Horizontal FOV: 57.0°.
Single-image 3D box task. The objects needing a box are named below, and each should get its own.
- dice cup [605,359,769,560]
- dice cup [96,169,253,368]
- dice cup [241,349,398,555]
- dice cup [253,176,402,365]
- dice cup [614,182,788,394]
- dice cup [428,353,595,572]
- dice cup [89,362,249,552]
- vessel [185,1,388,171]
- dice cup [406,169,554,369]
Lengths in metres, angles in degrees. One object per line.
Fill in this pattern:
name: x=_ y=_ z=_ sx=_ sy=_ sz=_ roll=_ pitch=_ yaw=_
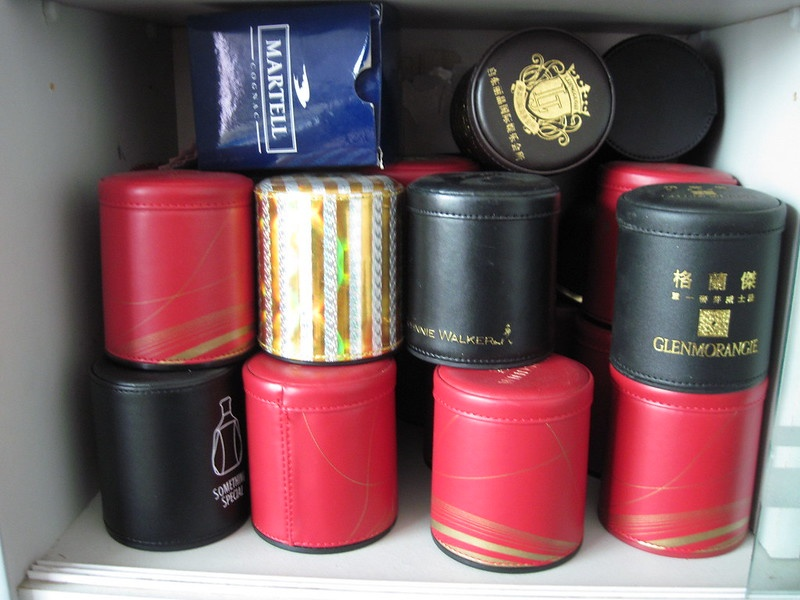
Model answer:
dice cup: x=0.520 y=0.306 z=1.619 sx=0.334 sy=0.401 sz=0.350 roll=3 pitch=13 yaw=-1
dice cup: x=-0.477 y=-0.085 z=1.620 sx=0.318 sy=0.389 sz=0.333 roll=2 pitch=15 yaw=-1
dice cup: x=-0.169 y=0.294 z=1.631 sx=0.331 sy=0.389 sz=0.331 roll=0 pitch=19 yaw=0
dice cup: x=-0.158 y=-0.091 z=1.623 sx=0.318 sy=0.380 sz=0.333 roll=1 pitch=16 yaw=0
dice cup: x=0.522 y=-0.047 z=1.556 sx=0.348 sy=0.418 sz=0.369 roll=-1 pitch=22 yaw=0
dice cup: x=0.232 y=0.320 z=1.580 sx=0.320 sy=0.377 sz=0.318 roll=-1 pitch=15 yaw=0
dice cup: x=-0.492 y=0.298 z=1.636 sx=0.313 sy=0.379 sz=0.329 roll=0 pitch=16 yaw=0
vessel: x=-0.235 y=-0.451 z=1.544 sx=0.336 sy=0.371 sz=0.263 roll=3 pitch=9 yaw=5
dice cup: x=0.153 y=-0.086 z=1.625 sx=0.333 sy=0.405 sz=0.352 roll=-1 pitch=14 yaw=0
